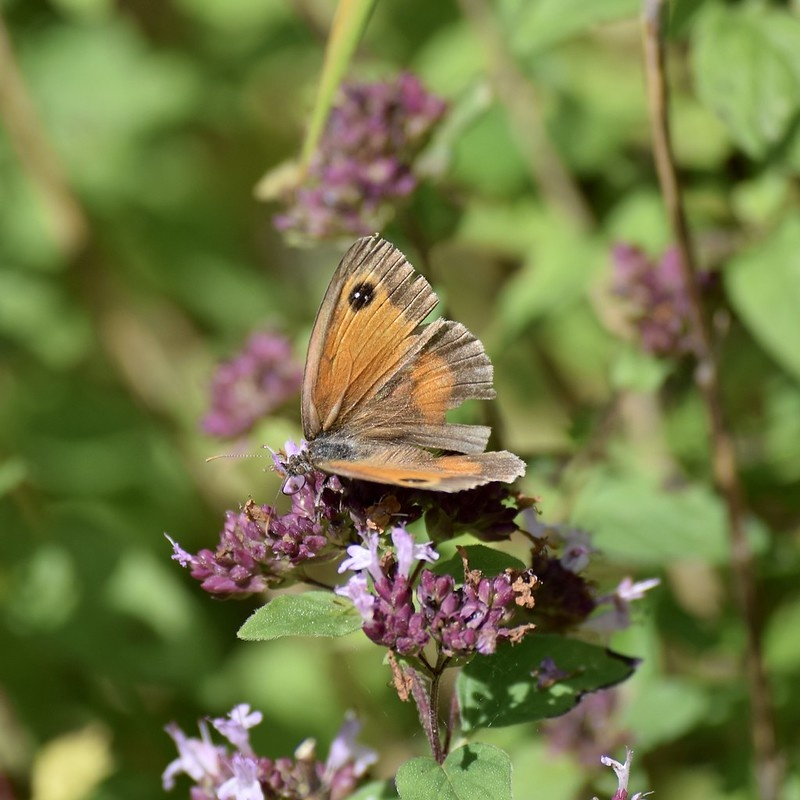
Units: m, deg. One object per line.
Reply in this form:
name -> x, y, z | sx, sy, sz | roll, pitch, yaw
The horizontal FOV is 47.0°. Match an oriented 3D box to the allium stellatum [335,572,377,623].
allium stellatum -> -0.088, 0.381, 1.793 | 0.070, 0.091, 0.116 | -9, 18, -4

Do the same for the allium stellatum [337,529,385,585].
allium stellatum -> -0.071, 0.304, 1.810 | 0.093, 0.045, 0.090 | -4, 38, 4

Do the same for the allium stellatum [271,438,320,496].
allium stellatum -> -0.229, 0.144, 1.986 | 0.083, 0.105, 0.141 | -10, 18, -8

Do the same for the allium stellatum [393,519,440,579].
allium stellatum -> 0.029, 0.301, 1.823 | 0.079, 0.133, 0.113 | -8, 18, -2

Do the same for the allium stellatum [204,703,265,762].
allium stellatum -> -0.340, 0.674, 1.932 | 0.079, 0.215, 0.071 | 2, 3, 18

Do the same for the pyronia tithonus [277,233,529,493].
pyronia tithonus -> -0.025, -0.060, 1.858 | 0.474, 0.494, 0.405 | -13, 19, -16
